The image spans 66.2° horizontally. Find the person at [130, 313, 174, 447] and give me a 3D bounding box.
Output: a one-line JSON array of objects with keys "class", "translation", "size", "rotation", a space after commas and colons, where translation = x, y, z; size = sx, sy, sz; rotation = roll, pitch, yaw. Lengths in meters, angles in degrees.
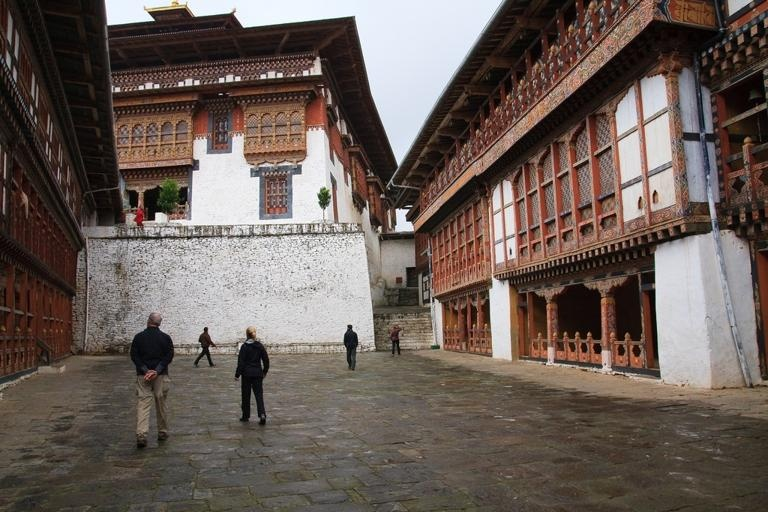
[{"class": "person", "translation": [-4.243, 2.219, 10.750], "size": [0.732, 2.334, 0.762], "rotation": [-7, -11, 38]}]

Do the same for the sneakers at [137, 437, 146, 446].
[{"class": "sneakers", "translation": [-4.202, 3.213, 10.142], "size": [0.140, 0.197, 0.113], "rotation": [-1, -14, -14]}]

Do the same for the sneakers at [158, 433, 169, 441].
[{"class": "sneakers", "translation": [-3.982, 3.259, 10.556], "size": [0.083, 0.124, 0.193], "rotation": [0, -1, -1]}]

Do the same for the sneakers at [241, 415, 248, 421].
[{"class": "sneakers", "translation": [-2.839, 3.314, 11.957], "size": [0.074, 0.143, 0.203], "rotation": [2, -1, -30]}]
